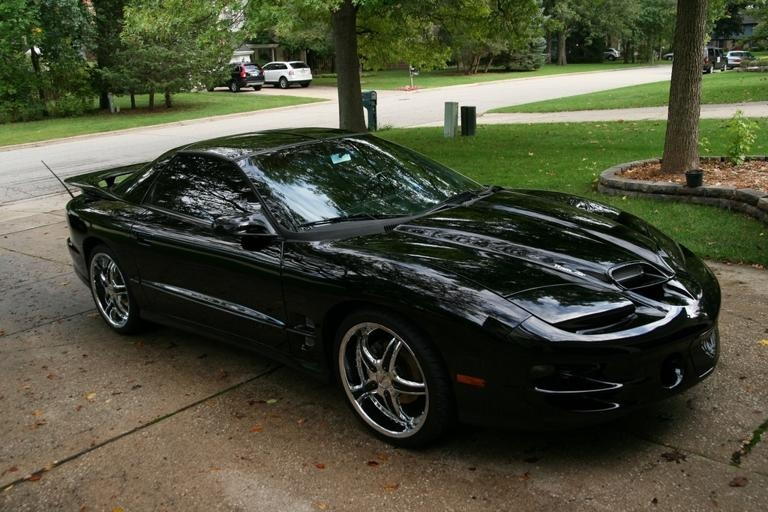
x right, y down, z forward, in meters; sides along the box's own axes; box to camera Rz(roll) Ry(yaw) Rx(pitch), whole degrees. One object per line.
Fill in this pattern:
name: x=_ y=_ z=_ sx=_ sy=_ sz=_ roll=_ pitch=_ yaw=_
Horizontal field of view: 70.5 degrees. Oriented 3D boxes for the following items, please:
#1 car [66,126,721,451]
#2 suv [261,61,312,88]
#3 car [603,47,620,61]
car: x=-0.570 y=0.041 z=4.620 sx=5.530 sy=1.232 sz=2.426 roll=10 pitch=24 yaw=29
suv: x=-7.833 y=-14.441 z=43.611 sx=3.733 sy=2.029 sz=1.416 roll=1 pitch=23 yaw=2
car: x=32.481 y=-28.569 z=77.438 sx=2.030 sy=1.578 sz=3.962 roll=8 pitch=20 yaw=21
